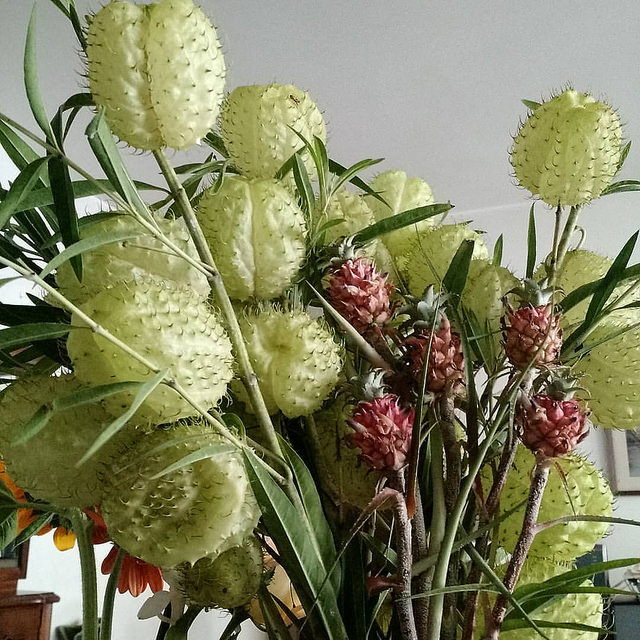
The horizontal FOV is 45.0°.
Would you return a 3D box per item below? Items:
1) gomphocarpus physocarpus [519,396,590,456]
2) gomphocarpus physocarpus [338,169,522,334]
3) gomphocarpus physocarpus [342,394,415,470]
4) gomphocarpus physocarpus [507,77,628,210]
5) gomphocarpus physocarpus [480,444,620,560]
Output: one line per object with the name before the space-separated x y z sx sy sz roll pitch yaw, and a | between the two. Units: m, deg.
gomphocarpus physocarpus | 0.117 0.051 0.385 0.032 0.036 0.024 7 -39 21
gomphocarpus physocarpus | 0.075 -0.048 0.520 0.125 0.061 0.100 63 -5 -4
gomphocarpus physocarpus | 0.031 0.055 0.373 0.039 0.033 0.037 -18 1 -2
gomphocarpus physocarpus | 0.160 -0.110 0.499 0.065 0.063 0.067 7 -37 21
gomphocarpus physocarpus | 0.136 0.108 0.502 0.080 0.072 0.049 11 -53 -14
